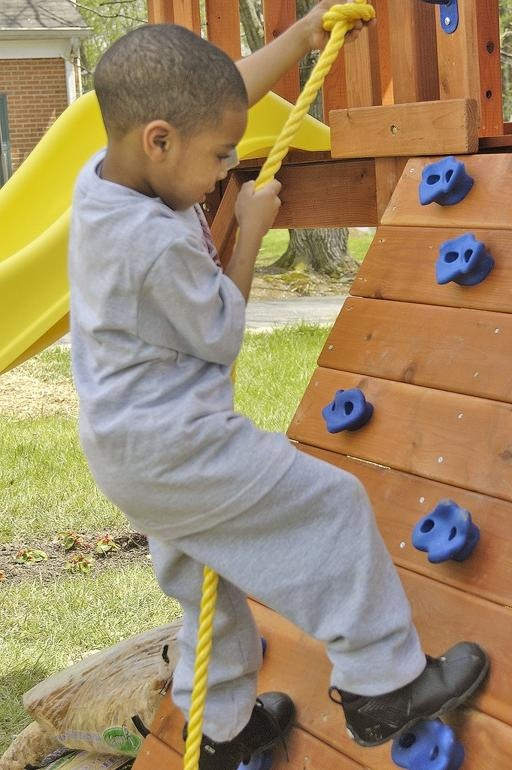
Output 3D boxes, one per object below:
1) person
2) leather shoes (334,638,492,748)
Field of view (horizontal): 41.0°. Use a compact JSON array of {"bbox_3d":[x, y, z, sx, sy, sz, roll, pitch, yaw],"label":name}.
[{"bbox_3d":[-0.016,0.111,1.209,0.549,1.380,0.554,-12,17,-16],"label":"person"},{"bbox_3d":[0.274,0.521,1.213,0.304,0.142,0.122,-27,39,11],"label":"leather shoes"}]
